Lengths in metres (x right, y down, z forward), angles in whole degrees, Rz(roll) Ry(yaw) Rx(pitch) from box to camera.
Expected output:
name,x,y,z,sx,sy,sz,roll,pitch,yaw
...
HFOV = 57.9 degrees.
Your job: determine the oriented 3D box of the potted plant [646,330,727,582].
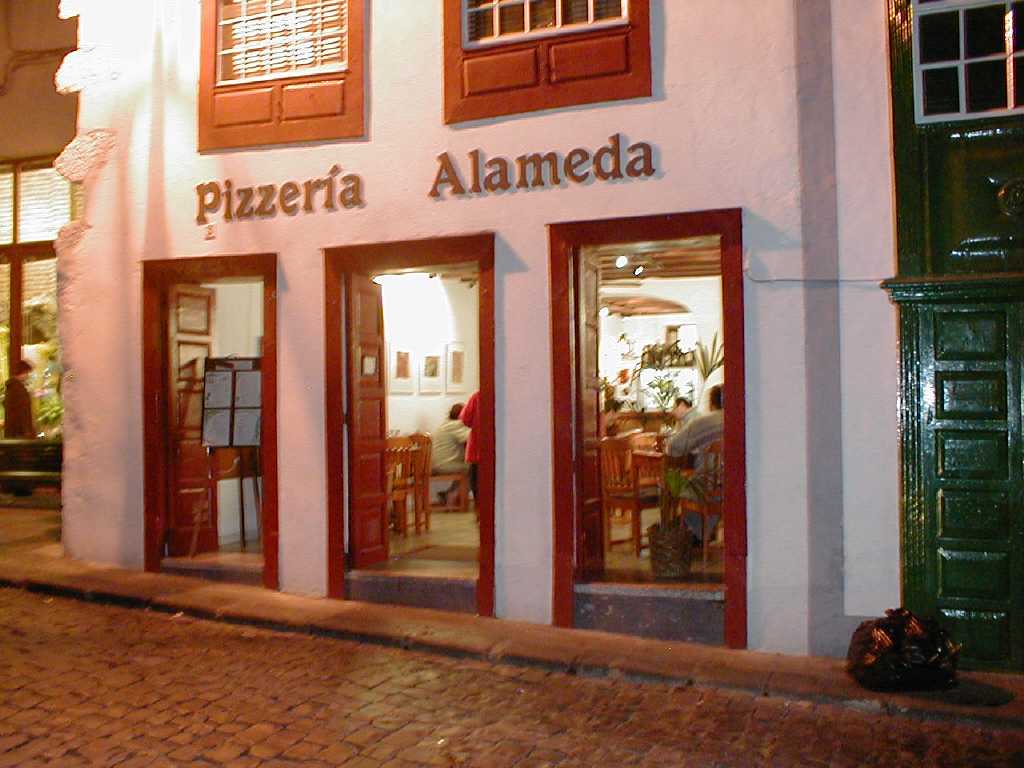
name,x,y,z,sx,sy,sz,roll,pitch,yaw
potted plant,1.713,0.713,8.957,0.625,2.021,1.965,1,6,13
